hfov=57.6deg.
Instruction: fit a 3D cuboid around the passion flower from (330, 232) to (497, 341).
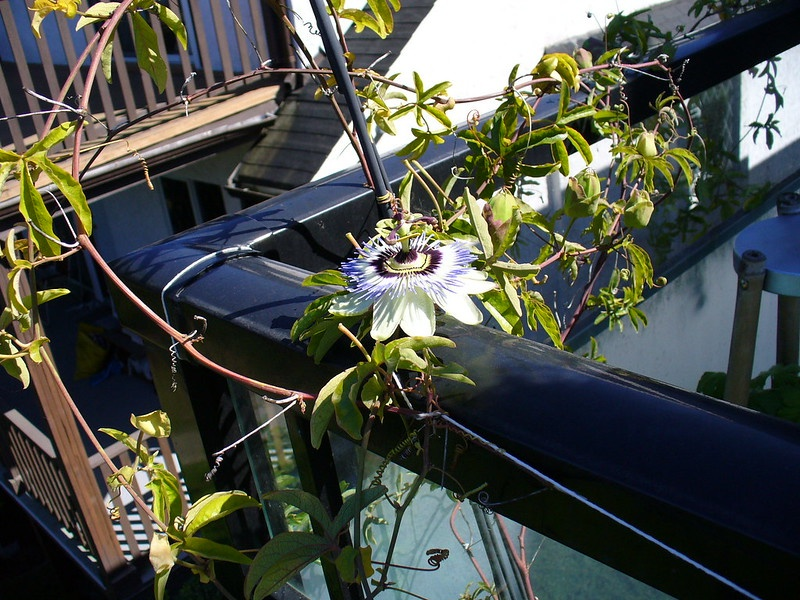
[{"bbox_3d":[0.007,-0.034,0.801,0.145,0.068,0.153,-2,-16,42],"label":"passion flower"}]
